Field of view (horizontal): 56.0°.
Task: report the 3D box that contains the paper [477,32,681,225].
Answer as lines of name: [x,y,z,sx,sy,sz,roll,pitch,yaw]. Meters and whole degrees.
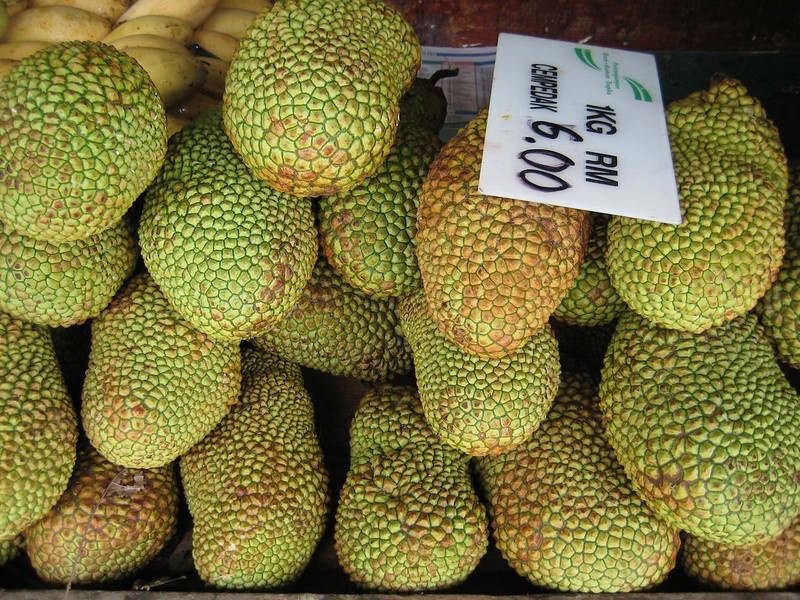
paper: [0.381,-0.375,1.591,0.395,0.086,0.464,6,67,4]
